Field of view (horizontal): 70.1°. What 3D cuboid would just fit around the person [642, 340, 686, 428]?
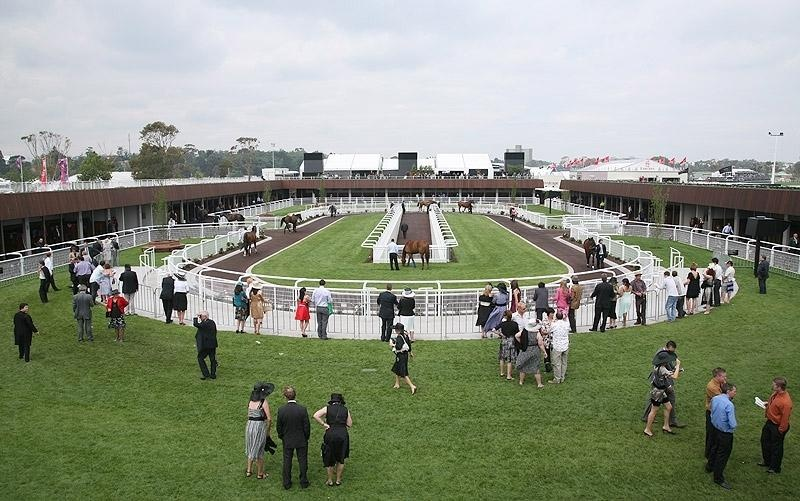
[{"bbox_3d":[6.664,3.505,14.340,1.080,2.139,0.852,-1,11,33],"label":"person"}]

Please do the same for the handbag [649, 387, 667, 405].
[{"bbox_3d":[6.448,3.607,14.139,0.417,0.457,0.230,1,8,19],"label":"handbag"}]

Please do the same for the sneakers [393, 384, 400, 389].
[{"bbox_3d":[-0.109,3.840,16.101,0.192,0.175,0.088,2,-7,-4],"label":"sneakers"}]

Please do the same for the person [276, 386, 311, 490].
[{"bbox_3d":[-2.408,4.349,12.873,0.673,2.019,0.380,-4,8,-13],"label":"person"}]

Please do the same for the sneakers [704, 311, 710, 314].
[{"bbox_3d":[11.663,2.332,21.545,0.263,0.068,0.099,-7,15,-22],"label":"sneakers"}]

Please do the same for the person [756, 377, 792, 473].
[{"bbox_3d":[8.603,3.963,13.014,0.525,2.246,0.602,3,9,35],"label":"person"}]

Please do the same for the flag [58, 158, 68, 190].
[{"bbox_3d":[-24.009,-5.482,40.409,0.595,2.079,8.542,-7,9,-30],"label":"flag"}]

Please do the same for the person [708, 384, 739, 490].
[{"bbox_3d":[7.311,4.155,12.950,0.511,2.235,0.621,2,9,28],"label":"person"}]

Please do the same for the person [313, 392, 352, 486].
[{"bbox_3d":[-1.520,4.238,12.989,0.757,2.100,0.628,-3,8,-6],"label":"person"}]

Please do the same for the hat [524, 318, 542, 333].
[{"bbox_3d":[3.724,2.078,15.810,0.531,0.363,0.126,-5,8,-19],"label":"hat"}]

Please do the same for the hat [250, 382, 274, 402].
[{"bbox_3d":[-3.170,3.187,12.977,0.477,0.478,0.451,-4,8,-11],"label":"hat"}]

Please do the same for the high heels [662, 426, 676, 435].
[{"bbox_3d":[6.738,4.495,14.302,0.363,0.180,0.117,-1,3,6],"label":"high heels"}]

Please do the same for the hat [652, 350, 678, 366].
[{"bbox_3d":[6.535,2.650,14.037,0.513,0.391,0.324,0,8,16],"label":"hat"}]

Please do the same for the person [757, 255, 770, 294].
[{"bbox_3d":[15.297,1.007,23.955,0.339,1.503,1.300,2,9,31],"label":"person"}]

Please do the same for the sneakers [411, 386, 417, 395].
[{"bbox_3d":[0.380,3.881,15.923,0.135,0.166,0.314,-2,8,1],"label":"sneakers"}]

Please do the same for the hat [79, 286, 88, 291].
[{"bbox_3d":[-10.584,1.257,18.884,0.189,0.216,0.229,1,-4,-7],"label":"hat"}]

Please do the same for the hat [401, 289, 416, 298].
[{"bbox_3d":[0.266,1.414,18.765,0.327,0.272,0.464,0,8,12],"label":"hat"}]

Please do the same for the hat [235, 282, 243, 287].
[{"bbox_3d":[-5.645,1.189,19.920,0.155,0.193,0.235,7,-8,-28],"label":"hat"}]
